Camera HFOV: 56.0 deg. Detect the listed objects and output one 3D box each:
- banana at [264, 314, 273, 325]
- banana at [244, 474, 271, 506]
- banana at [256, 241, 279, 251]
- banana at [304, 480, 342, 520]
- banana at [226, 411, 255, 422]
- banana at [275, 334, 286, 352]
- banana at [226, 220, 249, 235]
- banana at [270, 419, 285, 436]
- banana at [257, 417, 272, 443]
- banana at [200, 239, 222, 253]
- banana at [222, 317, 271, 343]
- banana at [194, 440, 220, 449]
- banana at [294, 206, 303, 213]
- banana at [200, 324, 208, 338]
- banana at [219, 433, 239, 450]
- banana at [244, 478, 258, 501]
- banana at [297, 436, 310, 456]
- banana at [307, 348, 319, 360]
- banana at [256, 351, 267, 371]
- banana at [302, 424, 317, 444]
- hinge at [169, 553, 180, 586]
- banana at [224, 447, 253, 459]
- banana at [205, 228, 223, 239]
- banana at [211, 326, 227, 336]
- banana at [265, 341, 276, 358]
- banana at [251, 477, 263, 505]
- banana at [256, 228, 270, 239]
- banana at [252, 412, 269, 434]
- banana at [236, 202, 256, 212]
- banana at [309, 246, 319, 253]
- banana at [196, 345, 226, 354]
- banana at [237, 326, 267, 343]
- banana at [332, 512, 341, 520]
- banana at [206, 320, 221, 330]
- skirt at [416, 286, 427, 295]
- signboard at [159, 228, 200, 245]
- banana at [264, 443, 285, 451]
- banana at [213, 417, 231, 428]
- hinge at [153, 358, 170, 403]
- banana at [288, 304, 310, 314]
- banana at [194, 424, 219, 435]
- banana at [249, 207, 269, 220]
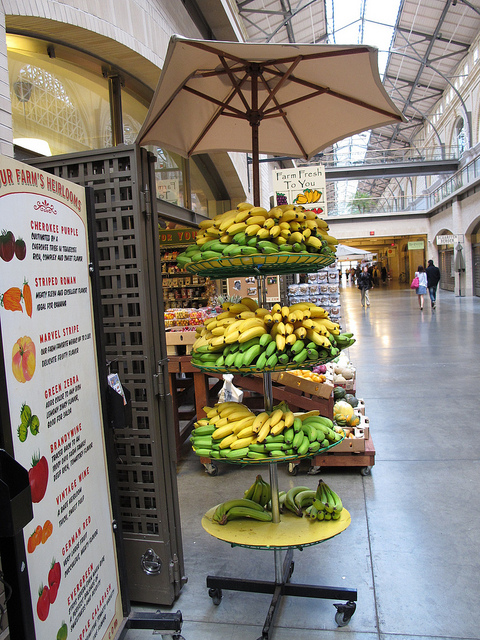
[{"bbox_3d":[0.125,0.000,2.014,0.029,0.041,0.030,-4,39,12],"label":"banana"},{"bbox_3d":[0.094,0.967,2.551,0.103,0.112,0.175,32,-24,12],"label":"banana"},{"bbox_3d":[0.107,-0.293,1.854,0.032,0.045,0.121,-31,-2,19],"label":"banana"},{"bbox_3d":[0.420,0.914,2.259,0.167,0.121,0.245,-27,9,7],"label":"banana"},{"bbox_3d":[0.002,0.468,2.188,0.047,0.044,0.148,-16,-3,42],"label":"banana"},{"bbox_3d":[0.165,0.097,1.870,0.026,0.027,0.082,17,35,-16],"label":"banana"},{"bbox_3d":[0.000,-0.419,2.064,0.052,0.039,0.144,37,48,22],"label":"banana"},{"bbox_3d":[0.165,0.479,1.989,0.028,0.032,0.098,17,18,18],"label":"banana"},{"bbox_3d":[0.107,0.484,1.975,0.028,0.034,0.121,14,36,19],"label":"banana"},{"bbox_3d":[-0.132,-0.331,2.045,0.103,0.033,0.029,-42,-10,-11],"label":"banana"},{"bbox_3d":[0.026,0.053,2.010,0.065,0.100,0.186,29,25,25],"label":"banana"},{"bbox_3d":[-0.158,0.591,2.123,0.111,0.039,0.032,-9,-33,27],"label":"banana"},{"bbox_3d":[0.271,-0.510,2.099,0.016,0.016,0.053,10,26,-20],"label":"banana"},{"bbox_3d":[-0.175,0.058,2.226,0.016,0.062,0.020,36,27,29],"label":"banana"},{"bbox_3d":[-0.049,0.544,2.013,0.035,0.042,0.115,-21,10,24],"label":"banana"},{"bbox_3d":[0.071,0.956,2.531,0.059,0.156,0.035,18,7,-19],"label":"banana"},{"bbox_3d":[0.275,0.543,1.951,0.026,0.034,0.098,25,32,14],"label":"banana"},{"bbox_3d":[0.305,0.149,1.906,0.034,0.058,0.030,-38,50,-3],"label":"banana"},{"bbox_3d":[0.089,0.172,1.818,0.022,0.027,0.083,-15,26,25],"label":"banana"},{"bbox_3d":[0.316,0.521,2.074,0.042,0.025,0.095,-21,19,2],"label":"banana"},{"bbox_3d":[-0.318,1.231,2.200,0.020,0.144,0.077,-4,2,17],"label":"hinge"},{"bbox_3d":[-0.015,0.579,1.937,0.129,0.047,0.041,-12,-27,11],"label":"banana"},{"bbox_3d":[-0.130,-0.416,2.171,0.030,0.041,0.112,-19,23,-30],"label":"banana"},{"bbox_3d":[-0.100,0.054,2.070,0.060,0.035,0.030,-7,-6,-2],"label":"banana"},{"bbox_3d":[0.127,0.125,1.885,0.025,0.026,0.079,6,47,39],"label":"banana"},{"bbox_3d":[0.101,0.933,2.475,0.032,0.143,0.054,11,-17,7],"label":"banana"},{"bbox_3d":[0.101,-0.361,1.902,0.041,0.034,0.082,-3,2,42],"label":"banana"},{"bbox_3d":[0.096,0.468,2.061,0.035,0.044,0.132,-28,13,23],"label":"banana"},{"bbox_3d":[0.028,-0.553,2.184,0.041,0.040,0.129,7,29,17],"label":"banana"},{"bbox_3d":[0.327,-0.307,2.017,0.032,0.009,0.025,30,-9,-32],"label":"banana"},{"bbox_3d":[-0.145,0.129,2.058,0.157,0.045,0.045,-2,7,31],"label":"banana"},{"bbox_3d":[0.056,0.065,1.967,0.187,0.055,0.054,-6,2,-44],"label":"banana"},{"bbox_3d":[0.462,0.944,2.165,0.035,0.036,0.020,23,-26,11],"label":"banana"},{"bbox_3d":[-0.125,0.030,2.180,0.086,0.028,0.024,-40,2,-3],"label":"banana"},{"bbox_3d":[6.477,-1.048,16.174,0.376,0.371,0.215,0,35,42],"label":"skirt"},{"bbox_3d":[-1.045,-1.390,7.539,0.631,0.265,0.403,-5,2,-3],"label":"signboard"},{"bbox_3d":[0.146,0.539,1.938,0.095,0.035,0.027,-5,1,-18],"label":"banana"},{"bbox_3d":[-0.092,0.505,2.192,0.067,0.039,0.091,-5,2,-17],"label":"banana"},{"bbox_3d":[-0.381,0.301,2.193,0.040,0.193,0.145,-4,2,6],"label":"hinge"},{"bbox_3d":[0.281,-0.054,2.152,0.127,0.038,0.038,-4,-17,-39],"label":"banana"},{"bbox_3d":[-0.166,0.539,2.242,0.131,0.045,0.044,-9,8,10],"label":"banana"},{"bbox_3d":[0.088,-0.473,2.055,0.099,0.053,0.030,10,-4,-31],"label":"banana"}]
